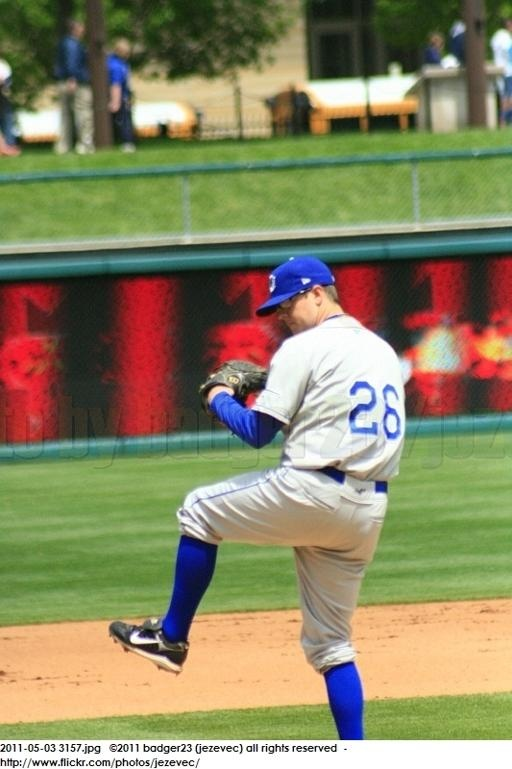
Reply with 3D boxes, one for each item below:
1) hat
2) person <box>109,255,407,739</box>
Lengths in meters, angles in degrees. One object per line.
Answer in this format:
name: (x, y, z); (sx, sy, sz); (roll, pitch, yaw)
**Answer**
hat: (0.185, -0.534, 9.844); (0.379, 0.250, 0.262); (-27, 8, -7)
person: (0.147, 0.746, 9.776); (1.258, 2.190, 0.383); (-1, 7, 11)
